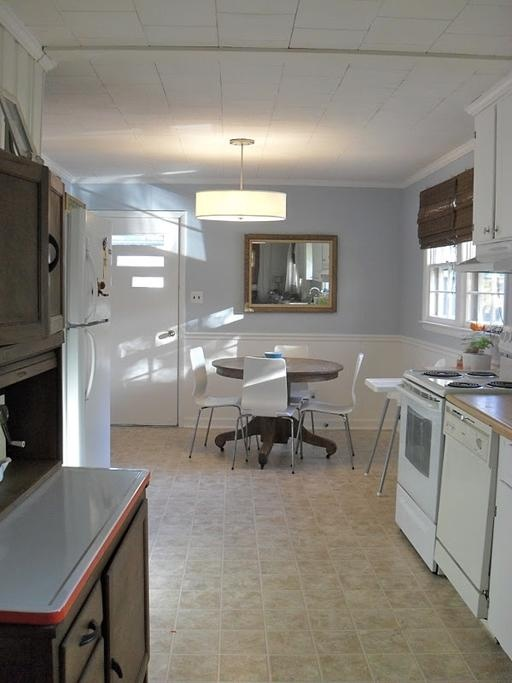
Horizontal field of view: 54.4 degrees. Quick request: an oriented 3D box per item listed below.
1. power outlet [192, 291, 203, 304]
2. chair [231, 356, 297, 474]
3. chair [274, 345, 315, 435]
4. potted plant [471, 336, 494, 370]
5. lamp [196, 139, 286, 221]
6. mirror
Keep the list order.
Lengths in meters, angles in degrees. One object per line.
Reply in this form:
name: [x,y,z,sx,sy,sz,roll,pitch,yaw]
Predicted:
power outlet: [-0.632,-0.479,5.349,0.102,0.129,0.016,0,4,-6]
chair: [0.076,0.579,4.371,0.560,0.928,0.925,1,2,2]
chair: [0.406,0.333,4.978,0.460,0.780,0.489,-1,-2,8]
potted plant: [1.468,0.079,3.228,0.155,0.234,0.160,-6,8,-36]
lamp: [-0.072,-1.244,3.913,0.630,0.662,0.848,1,2,10]
mirror: [0.350,-0.763,5.332,0.661,0.707,0.057,0,6,1]
